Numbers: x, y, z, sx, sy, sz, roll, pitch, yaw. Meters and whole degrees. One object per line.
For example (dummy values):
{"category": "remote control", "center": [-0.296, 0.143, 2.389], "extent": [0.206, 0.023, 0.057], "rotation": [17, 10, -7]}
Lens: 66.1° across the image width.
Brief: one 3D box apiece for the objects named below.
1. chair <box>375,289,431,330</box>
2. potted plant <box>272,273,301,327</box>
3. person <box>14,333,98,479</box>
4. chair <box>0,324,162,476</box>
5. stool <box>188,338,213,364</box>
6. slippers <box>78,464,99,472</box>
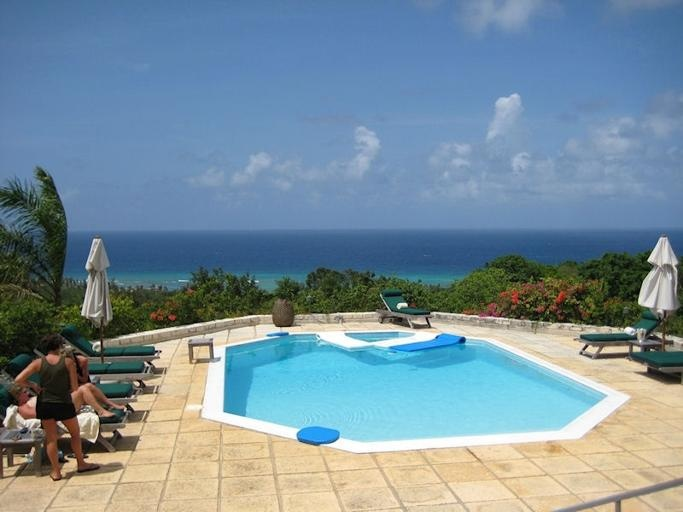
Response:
{"category": "chair", "center": [2.014, 1.640, 16.759], "extent": [1.138, 1.164, 1.890], "rotation": [2, -1, -32]}
{"category": "potted plant", "center": [-1.772, 1.449, 17.007], "extent": [0.933, 1.689, 1.005], "rotation": [1, -6, 24]}
{"category": "person", "center": [-4.053, 2.102, 7.504], "extent": [0.899, 2.004, 0.625], "rotation": [1, 0, 35]}
{"category": "chair", "center": [-4.279, 2.374, 8.553], "extent": [1.346, 2.031, 0.795], "rotation": [11, 22, 0]}
{"category": "stool", "center": [-3.301, 2.183, 12.286], "extent": [0.586, 0.571, 0.606], "rotation": [0, 1, 15]}
{"category": "slippers", "center": [-3.614, 3.014, 7.475], "extent": [0.202, 0.070, 0.113], "rotation": [-2, 4, -21]}
